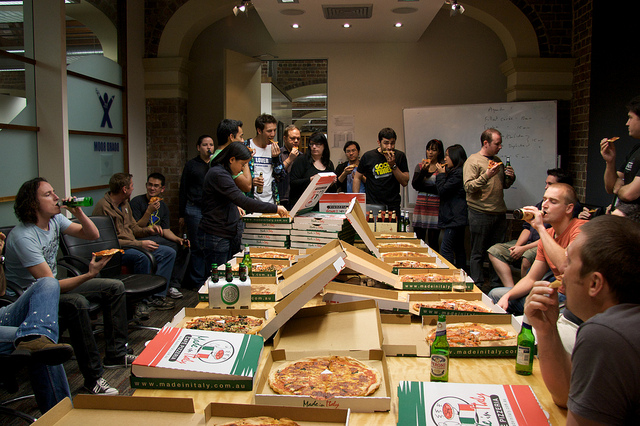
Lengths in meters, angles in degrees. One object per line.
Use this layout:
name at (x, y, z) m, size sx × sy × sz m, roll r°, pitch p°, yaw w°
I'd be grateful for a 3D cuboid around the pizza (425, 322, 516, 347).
pizza at (0.894, 0.689, 2.446) m, size 0.402 × 0.041 × 0.238 m, roll 0°, pitch 9°, yaw -1°

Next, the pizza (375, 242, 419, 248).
pizza at (0.734, 0.312, 4.111) m, size 0.365 × 0.032 × 0.284 m, roll 1°, pitch 9°, yaw 9°

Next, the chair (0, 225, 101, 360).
chair at (-2.231, 0.757, 3.626) m, size 0.919 × 1.241 × 0.627 m, roll 9°, pitch 13°, yaw 43°

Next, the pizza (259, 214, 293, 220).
pizza at (-0.384, 0.035, 3.781) m, size 0.308 × 0.031 × 0.076 m, roll 2°, pitch 10°, yaw 15°

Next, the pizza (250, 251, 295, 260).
pizza at (-0.387, 0.356, 3.598) m, size 0.381 × 0.019 × 0.182 m, roll 1°, pitch 9°, yaw 8°

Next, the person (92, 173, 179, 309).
person at (-2.116, 0.337, 4.947) m, size 0.820 × 1.490 × 0.699 m, roll 2°, pitch 5°, yaw 8°

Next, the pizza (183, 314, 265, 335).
pizza at (-0.540, 0.659, 2.544) m, size 0.264 × 0.033 × 0.167 m, roll 1°, pitch 8°, yaw 0°

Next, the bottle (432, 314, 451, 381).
bottle at (0.616, 0.675, 2.209) m, size 0.086 × 0.340 × 0.181 m, roll 3°, pitch 10°, yaw 16°

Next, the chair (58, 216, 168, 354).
chair at (-1.937, 0.672, 4.148) m, size 0.856 × 1.177 × 0.808 m, roll 3°, pitch 5°, yaw 27°

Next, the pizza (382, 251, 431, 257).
pizza at (0.727, 0.368, 3.721) m, size 0.384 × 0.025 × 0.210 m, roll 1°, pitch 9°, yaw 4°

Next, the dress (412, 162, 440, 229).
dress at (1.517, -0.184, 6.081) m, size 0.451 × 1.132 × 0.306 m, roll 5°, pitch 34°, yaw 19°

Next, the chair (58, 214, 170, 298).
chair at (-1.952, 0.569, 4.134) m, size 0.876 × 1.033 × 0.749 m, roll 3°, pitch 6°, yaw 18°

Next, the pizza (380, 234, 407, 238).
pizza at (0.733, 0.248, 4.422) m, size 0.247 × 0.017 × 0.194 m, roll 1°, pitch 9°, yaw 5°

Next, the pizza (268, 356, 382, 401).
pizza at (0.022, 0.806, 2.115) m, size 0.530 × 0.077 × 0.269 m, roll 1°, pitch 9°, yaw 5°

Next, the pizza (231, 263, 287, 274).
pizza at (-0.408, 0.428, 3.288) m, size 0.269 × 0.057 × 0.312 m, roll 1°, pitch 9°, yaw 4°
